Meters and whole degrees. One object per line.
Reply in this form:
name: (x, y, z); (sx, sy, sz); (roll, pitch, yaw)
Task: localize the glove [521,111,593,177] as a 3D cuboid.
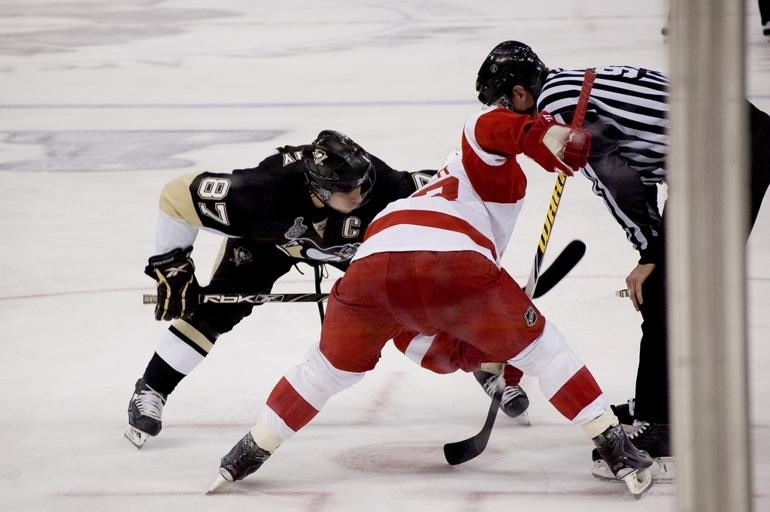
glove: (0.542, -0.369, 3.141); (0.220, 0.196, 0.104); (29, 37, 18)

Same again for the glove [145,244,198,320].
glove: (-0.839, 0.107, 3.732); (0.262, 0.256, 0.109); (0, 6, 1)

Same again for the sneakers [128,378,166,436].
sneakers: (-0.962, 0.619, 3.864); (0.090, 0.122, 0.272); (45, -5, -21)

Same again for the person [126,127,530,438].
person: (-0.294, 0.091, 3.891); (1.664, 1.224, 0.842); (-6, 17, -14)
